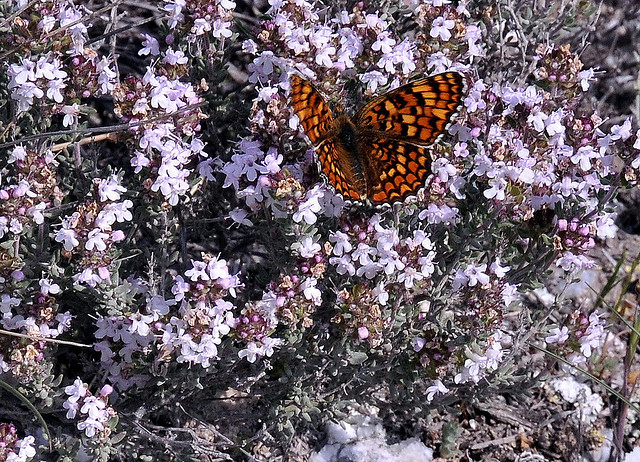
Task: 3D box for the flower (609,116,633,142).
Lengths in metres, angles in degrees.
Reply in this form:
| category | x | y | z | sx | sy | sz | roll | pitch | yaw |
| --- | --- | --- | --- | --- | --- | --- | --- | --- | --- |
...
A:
| category | x | y | z | sx | sy | sz | roll | pitch | yaw |
| --- | --- | --- | --- | --- | --- | --- | --- | --- | --- |
| flower | 1.938 | -0.674 | 5.148 | 0.125 | 0.065 | 0.157 | 12 | 29 | -8 |
